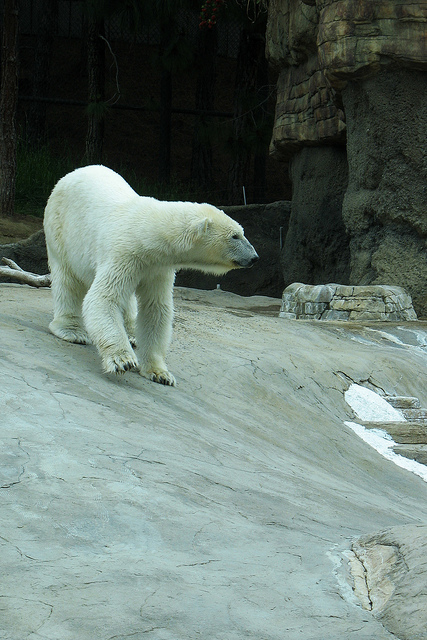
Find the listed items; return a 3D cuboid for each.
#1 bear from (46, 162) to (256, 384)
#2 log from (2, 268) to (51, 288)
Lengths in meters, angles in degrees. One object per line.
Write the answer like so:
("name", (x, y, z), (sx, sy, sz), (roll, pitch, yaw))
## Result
("bear", (-0.472, -0.293, 4.649), (0.937, 1.165, 1.603), (-2, 17, -37))
("log", (-1.970, -0.451, 7.705), (0.462, 0.128, 0.437), (13, -4, 17))
